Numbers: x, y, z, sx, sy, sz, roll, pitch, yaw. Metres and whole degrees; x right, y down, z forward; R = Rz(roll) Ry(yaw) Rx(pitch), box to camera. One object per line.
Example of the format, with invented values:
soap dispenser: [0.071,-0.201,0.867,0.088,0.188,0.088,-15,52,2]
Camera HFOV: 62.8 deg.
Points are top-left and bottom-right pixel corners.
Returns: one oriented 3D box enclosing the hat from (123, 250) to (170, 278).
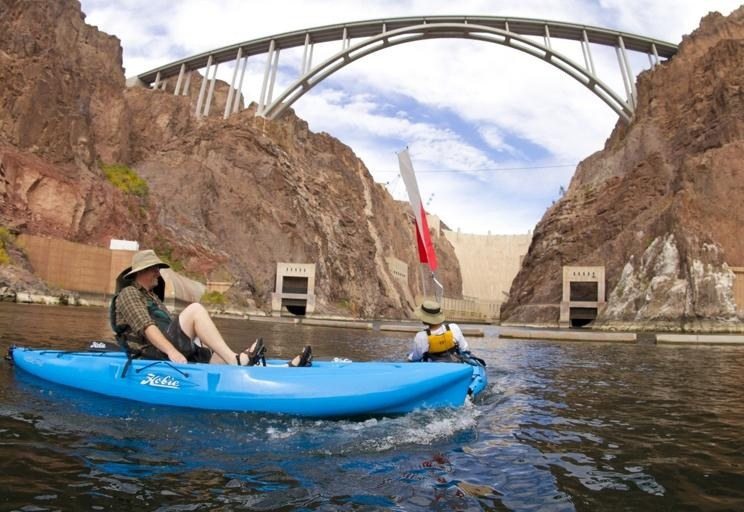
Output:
hat: [-3.558,0.102,9.371,0.500,0.239,0.477,-13,-4,14]
